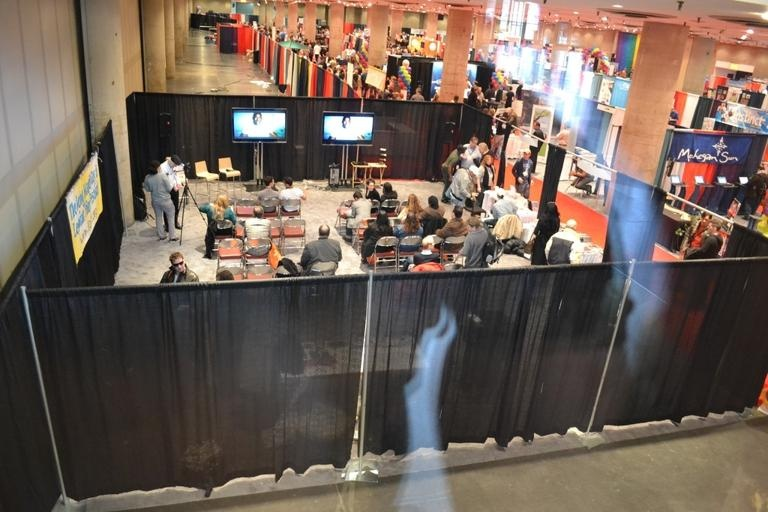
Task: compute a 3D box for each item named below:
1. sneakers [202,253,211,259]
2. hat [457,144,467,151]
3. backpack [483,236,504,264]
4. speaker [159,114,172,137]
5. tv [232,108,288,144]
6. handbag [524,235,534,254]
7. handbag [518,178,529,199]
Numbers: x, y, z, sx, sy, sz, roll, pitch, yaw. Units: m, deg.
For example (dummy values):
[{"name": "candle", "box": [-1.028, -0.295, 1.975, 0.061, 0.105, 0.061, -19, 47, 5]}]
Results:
[{"name": "sneakers", "box": [-3.933, -0.015, 11.911, 0.263, 0.099, 0.104, 12, 19, 27]}, {"name": "hat", "box": [2.265, -3.125, 15.391, 0.254, 0.173, 0.327, 0, 11, 4]}, {"name": "backpack", "box": [2.269, -0.132, 11.128, 0.332, 0.451, 0.625, 3, -4, 4]}, {"name": "speaker", "box": [-6.091, -3.726, 14.988, 0.392, 0.623, 0.194, -10, 21, -36]}, {"name": "tv", "box": [-3.628, -3.841, 15.447, 1.096, 0.711, 0.050, -3, 21, -16]}, {"name": "handbag", "box": [3.531, -0.306, 13.061, 0.115, 0.404, 0.411, 17, 3, -4]}, {"name": "handbag", "box": [3.697, -1.828, 14.136, 0.378, 0.500, 0.179, 0, 5, 43]}]
